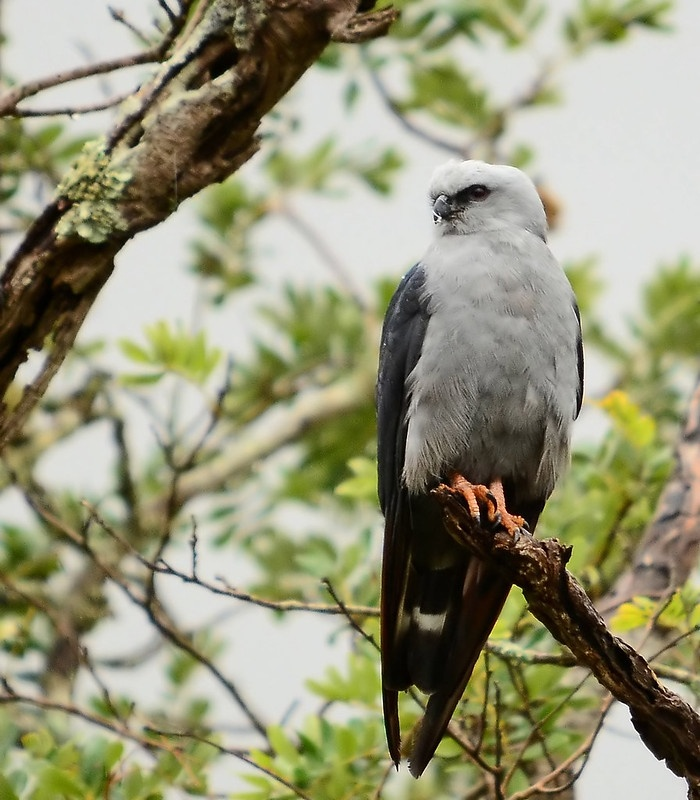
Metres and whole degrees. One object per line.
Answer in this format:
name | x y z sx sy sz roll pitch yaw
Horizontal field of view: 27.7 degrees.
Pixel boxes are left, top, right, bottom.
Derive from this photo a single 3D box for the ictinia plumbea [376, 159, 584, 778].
ictinia plumbea | 0.404 0.123 4.892 0.743 1.898 1.349 5 -61 8
